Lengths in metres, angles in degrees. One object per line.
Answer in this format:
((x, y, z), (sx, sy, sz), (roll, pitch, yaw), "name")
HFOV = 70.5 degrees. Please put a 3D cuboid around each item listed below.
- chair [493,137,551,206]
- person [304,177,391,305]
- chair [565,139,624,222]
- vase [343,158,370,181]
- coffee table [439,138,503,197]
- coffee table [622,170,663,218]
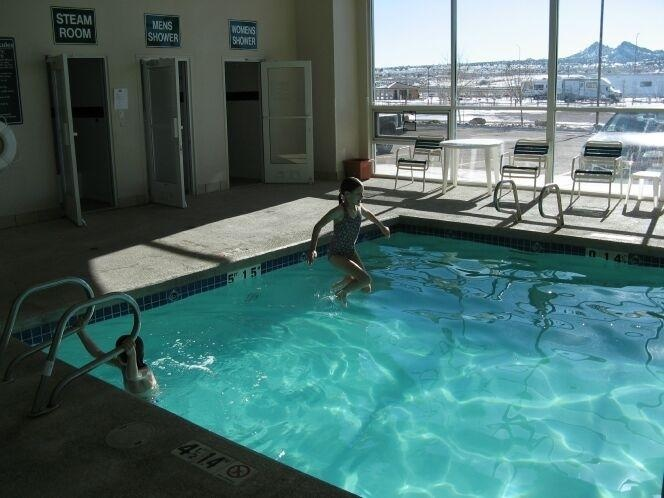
((3.703, -1.571, 9.039), (0.948, 0.928, 0.861), (-15, 22, -24), "chair")
((0.154, -0.067, 5.047), (0.653, 1.410, 0.698), (3, 16, 16), "person")
((4.790, -1.369, 8.468), (0.848, 1.117, 1.593), (7, 17, 28), "chair")
((0.623, -1.964, 11.416), (0.627, 0.473, 0.721), (5, 13, 31), "vase")
((2.823, -1.623, 9.676), (1.404, 0.905, 1.352), (-17, 24, -35), "coffee table")
((5.503, -0.951, 8.370), (0.986, 0.833, 0.921), (3, 12, 29), "coffee table")
